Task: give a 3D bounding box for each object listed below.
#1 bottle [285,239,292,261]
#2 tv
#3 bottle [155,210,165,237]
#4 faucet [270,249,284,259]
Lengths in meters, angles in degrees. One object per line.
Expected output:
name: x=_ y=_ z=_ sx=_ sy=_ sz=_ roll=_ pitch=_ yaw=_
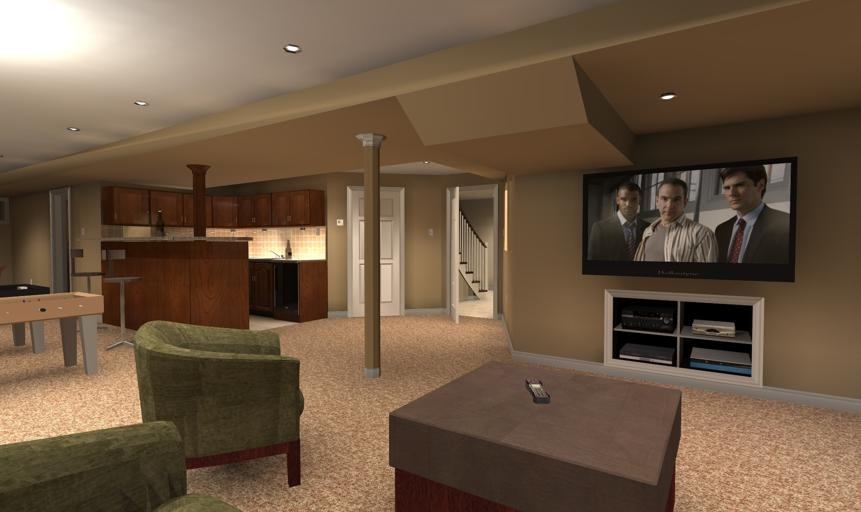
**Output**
bottle: x=-2.733 y=-0.152 z=10.635 sx=0.142 sy=0.364 sz=0.270 roll=0 pitch=-1 yaw=-19
tv: x=3.077 y=-0.431 z=6.339 sx=1.783 sy=0.888 sz=0.067 roll=1 pitch=2 yaw=29
bottle: x=-4.987 y=-0.623 z=10.163 sx=0.154 sy=0.451 sz=0.369 roll=0 pitch=-1 yaw=-25
faucet: x=-2.996 y=-0.047 z=10.744 sx=0.273 sy=0.159 sz=0.518 roll=0 pitch=-1 yaw=-18
